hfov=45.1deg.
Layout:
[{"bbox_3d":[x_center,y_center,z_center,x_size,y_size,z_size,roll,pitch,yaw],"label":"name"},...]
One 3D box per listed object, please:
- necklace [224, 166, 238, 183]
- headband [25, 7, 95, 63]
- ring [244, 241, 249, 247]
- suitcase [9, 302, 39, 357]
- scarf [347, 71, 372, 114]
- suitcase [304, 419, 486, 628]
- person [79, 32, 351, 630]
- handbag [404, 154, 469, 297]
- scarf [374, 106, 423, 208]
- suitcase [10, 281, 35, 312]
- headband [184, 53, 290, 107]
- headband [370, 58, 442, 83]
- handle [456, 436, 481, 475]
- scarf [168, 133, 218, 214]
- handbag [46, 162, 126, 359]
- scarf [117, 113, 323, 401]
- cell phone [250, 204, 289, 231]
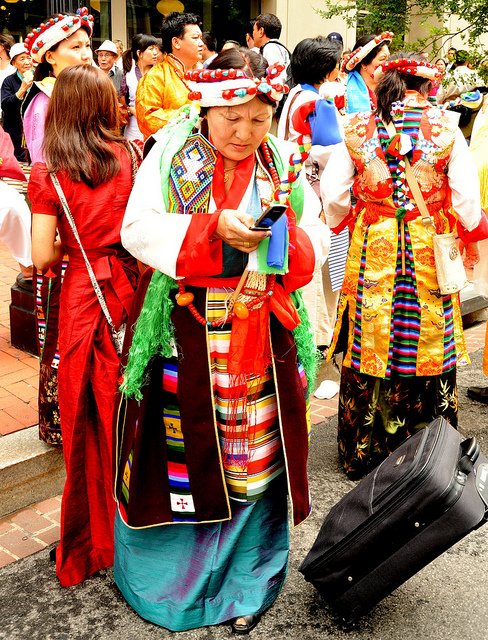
[{"bbox_3d":[-0.040,-0.426,1.730,0.066,0.025,0.009,-28,-18,-3],"label":"necklace"},{"bbox_3d":[-0.898,-1.370,2.832,0.303,0.126,0.290,-32,17,4],"label":"headband"},{"bbox_3d":[0.005,-0.199,1.552,0.013,0.014,0.017,0,12,-4],"label":"ring"},{"bbox_3d":[-1.408,0.058,3.764,0.158,0.257,0.285,-15,28,-38],"label":"suitcase"},{"bbox_3d":[0.765,-1.533,3.931,0.161,0.281,0.260,2,13,8],"label":"scarf"},{"bbox_3d":[0.515,0.708,1.983,0.736,0.305,0.551,-35,7,16],"label":"suitcase"},{"bbox_3d":[-0.163,0.107,1.891,0.877,1.819,0.759,1,13,0],"label":"person"},{"bbox_3d":[0.876,-0.405,2.591,0.366,0.612,0.182,-8,16,-32],"label":"handbag"},{"bbox_3d":[0.669,-0.740,2.511,0.178,0.294,0.064,8,12,30],"label":"scarf"},{"bbox_3d":[-1.401,-0.144,3.724,0.161,0.111,0.163,23,26,36],"label":"suitcase"},{"bbox_3d":[0.008,-0.637,1.597,0.240,0.080,0.229,-13,23,-18],"label":"headband"},{"bbox_3d":[0.699,-1.064,2.498,0.263,0.087,0.112,6,14,25],"label":"headband"},{"bbox_3d":[0.685,0.407,1.783,0.075,0.042,0.107,8,46,11],"label":"handle"},{"bbox_3d":[-0.145,-0.423,1.702,0.139,0.223,0.063,-8,16,-33],"label":"scarf"},{"bbox_3d":[-0.538,-0.184,2.079,0.086,0.693,0.242,-9,22,24],"label":"handbag"},{"bbox_3d":[-0.183,-0.160,1.893,0.709,0.818,0.223,2,8,-7],"label":"scarf"},{"bbox_3d":[0.059,-0.254,1.466,0.059,0.067,0.096,-6,14,-27],"label":"cell phone"}]
